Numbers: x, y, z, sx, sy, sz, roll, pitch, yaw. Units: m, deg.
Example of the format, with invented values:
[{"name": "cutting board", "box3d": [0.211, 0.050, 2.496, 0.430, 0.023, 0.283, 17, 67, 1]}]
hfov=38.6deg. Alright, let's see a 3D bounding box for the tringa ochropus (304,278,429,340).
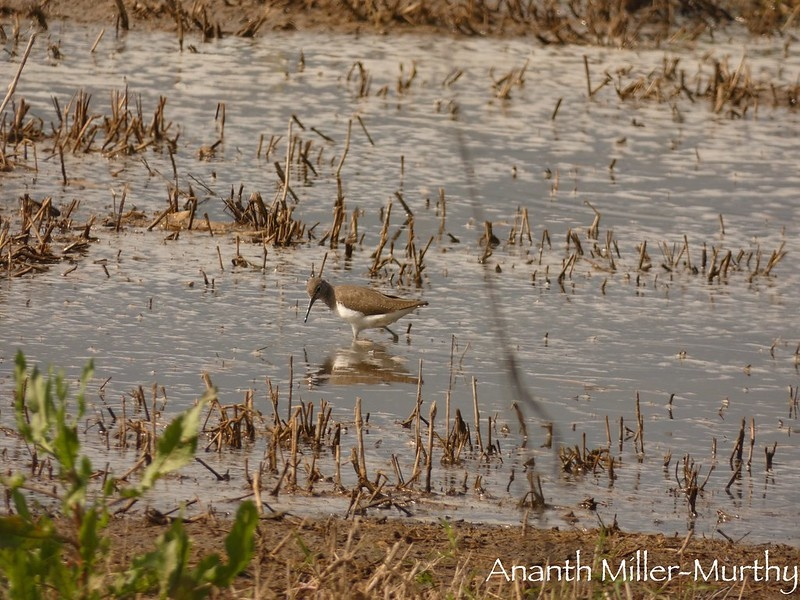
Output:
[{"name": "tringa ochropus", "box3d": [-0.383, 0.093, 11.954, 1.453, 0.552, 0.430, -1, -4, -26]}]
